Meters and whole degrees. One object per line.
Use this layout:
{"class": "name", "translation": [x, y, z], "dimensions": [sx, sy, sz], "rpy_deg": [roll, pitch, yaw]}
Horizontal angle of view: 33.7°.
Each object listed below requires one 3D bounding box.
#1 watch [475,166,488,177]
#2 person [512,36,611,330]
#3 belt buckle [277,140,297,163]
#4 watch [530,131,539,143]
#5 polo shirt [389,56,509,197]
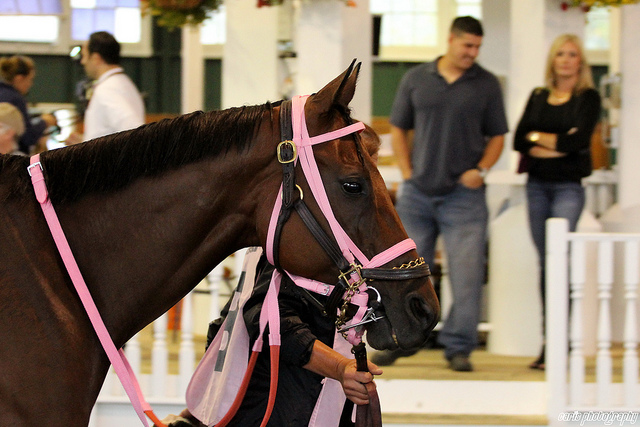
{"class": "watch", "translation": [1.125, -0.310, 7.337], "dimensions": [0.099, 0.078, 0.071], "rpy_deg": [6, -14, 9]}
{"class": "person", "translation": [1.667, -0.320, 7.361], "dimensions": [0.474, 1.826, 0.522], "rpy_deg": [-3, 9, -26]}
{"class": "belt buckle", "translation": [-0.166, -0.317, 5.310], "dimensions": [0.097, 0.101, 0.042], "rpy_deg": [-3, -6, 9]}
{"class": "watch", "translation": [1.482, -0.536, 7.293], "dimensions": [0.033, 0.063, 0.047], "rpy_deg": [23, -13, -38]}
{"class": "polo shirt", "translation": [0.899, -0.623, 7.398], "dimensions": [0.873, 0.918, 0.404], "rpy_deg": [7, 7, 23]}
